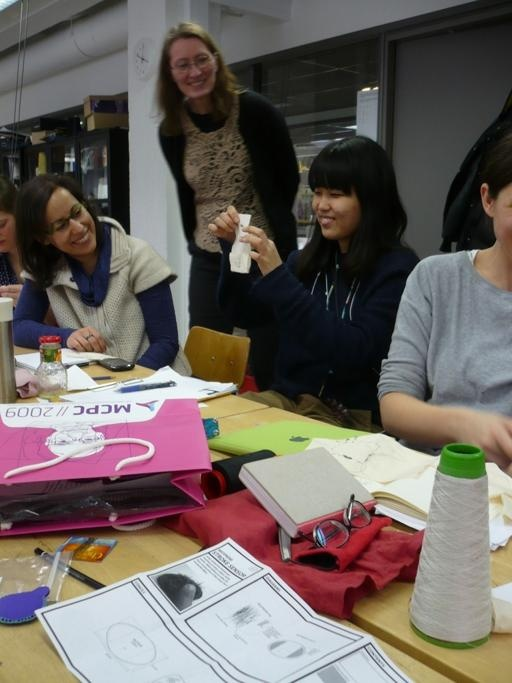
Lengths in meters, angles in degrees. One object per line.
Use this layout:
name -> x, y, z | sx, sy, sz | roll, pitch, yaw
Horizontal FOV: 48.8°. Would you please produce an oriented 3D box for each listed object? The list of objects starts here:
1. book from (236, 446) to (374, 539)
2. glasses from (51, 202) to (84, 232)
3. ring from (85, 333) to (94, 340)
book -> 0.071, 0.199, 0.766 | 0.105, 0.023, 0.106 | -8, 32, -37
glasses -> -0.674, -0.439, 2.013 | 0.120, 0.106, 0.064 | -7, 12, -29
ring -> -0.585, -0.015, 1.975 | 0.018, 0.020, 0.009 | -7, -33, -12
